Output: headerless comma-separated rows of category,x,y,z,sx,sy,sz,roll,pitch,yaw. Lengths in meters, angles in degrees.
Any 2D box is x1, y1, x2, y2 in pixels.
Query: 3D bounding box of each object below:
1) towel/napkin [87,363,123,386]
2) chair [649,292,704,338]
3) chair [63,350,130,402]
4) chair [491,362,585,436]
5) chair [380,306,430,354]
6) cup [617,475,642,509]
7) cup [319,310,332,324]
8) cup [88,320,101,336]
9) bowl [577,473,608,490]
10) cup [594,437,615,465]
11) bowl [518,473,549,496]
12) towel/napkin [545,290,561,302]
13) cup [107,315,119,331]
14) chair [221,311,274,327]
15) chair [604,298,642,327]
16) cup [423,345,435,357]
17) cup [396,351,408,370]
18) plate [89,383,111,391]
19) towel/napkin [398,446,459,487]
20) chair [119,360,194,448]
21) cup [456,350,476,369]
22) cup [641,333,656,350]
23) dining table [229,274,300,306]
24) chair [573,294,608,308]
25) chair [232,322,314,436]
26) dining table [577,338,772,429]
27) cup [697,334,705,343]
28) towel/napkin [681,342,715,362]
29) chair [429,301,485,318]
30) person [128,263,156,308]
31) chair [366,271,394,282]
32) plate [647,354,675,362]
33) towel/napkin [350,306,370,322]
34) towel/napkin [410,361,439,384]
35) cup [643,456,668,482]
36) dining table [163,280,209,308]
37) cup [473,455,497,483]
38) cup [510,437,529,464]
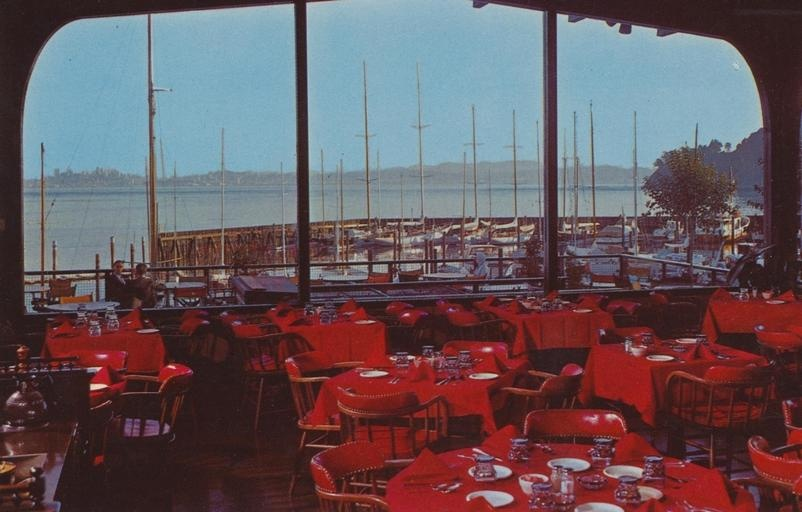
towel/napkin,-3.999,1.605,12.606,0.322,0.161,0.360,3,0,-4
chair,4.848,1.105,16.469,0.941,1.127,0.844,-3,-1,31
chair,-4.148,1.614,12.852,0.663,0.923,0.810,1,-12,-12
chair,1.882,1.849,12.539,0.892,1.299,1.001,5,5,39
chair,0.097,1.185,15.187,0.622,0.595,0.783,0,4,5
cup,2.683,2.767,10.957,0.313,0.322,0.277,0,0,-6
cup,-1.186,0.950,14.576,0.181,0.187,0.181,0,3,0
cup,-4.633,1.094,14.133,0.199,0.208,0.205,0,0,0
bowl,2.298,2.688,11.116,0.209,0.065,0.192,0,22,0
cup,2.493,2.360,11.412,0.275,0.294,0.301,0,0,0
bowl,1.549,2.678,11.069,0.255,0.155,0.256,0,0,0
towel/napkin,2.561,0.690,15.700,0.159,0.075,0.269,7,22,36
cup,-4.444,1.037,14.362,0.175,0.262,0.179,0,2,0
chair,-2.536,1.008,15.041,0.497,0.193,0.380,7,-4,-22
chair,3.676,0.918,15.435,0.468,0.576,0.464,2,-5,-25
cup,0.376,1.315,12.989,0.158,0.181,0.164,0,1,0
cup,0.034,1.432,12.962,0.168,0.328,0.178,0,3,0
plate,-4.012,1.731,12.386,0.212,0.080,0.268,-3,1,-23
towel/napkin,0.311,2.583,11.196,0.495,0.175,0.504,21,44,28
chair,-3.387,1.991,12.745,1.142,1.053,0.945,2,3,-11
cup,0.906,1.422,12.917,0.211,0.216,0.221,-1,3,0
cup,3.574,1.236,13.381,0.195,0.218,0.196,-1,-3,0
dining table,-2.467,0.587,16.789,1.111,0.494,2.134,-2,1,-12
chair,3.181,0.746,15.456,0.301,0.312,0.286,1,0,-9
chair,-1.797,1.892,14.395,1.338,1.960,1.546,-4,4,-17
dining table,3.462,1.647,13.085,1.545,0.753,1.560,-3,1,-25
cup,4.279,1.170,13.268,0.123,0.095,0.119,0,3,0
towel/napkin,4.198,1.364,13.055,0.286,0.131,0.298,-2,7,21
chair,0.904,0.871,15.528,0.480,0.184,0.345,9,-5,-20
person,-4.460,0.504,16.126,0.473,0.805,0.450,-2,1,-30
chair,-0.449,0.442,18.926,0.450,0.173,0.349,-2,0,6
plate,3.645,1.423,13.062,0.383,0.080,0.200,-2,1,1
towel/napkin,-0.672,0.924,14.690,0.220,0.066,0.243,2,13,11
towel/napkin,0.321,1.581,12.654,0.323,0.340,0.248,-1,0,-39
cup,3.031,2.532,11.161,0.237,0.276,0.266,0,-1,-44
dining table,-4.132,0.706,17.888,0.780,0.470,1.672,-2,1,-14
cup,0.999,2.543,11.192,0.262,0.279,0.283,-1,3,0
cup,1.444,2.355,11.342,0.242,0.244,0.249,0,0,0
